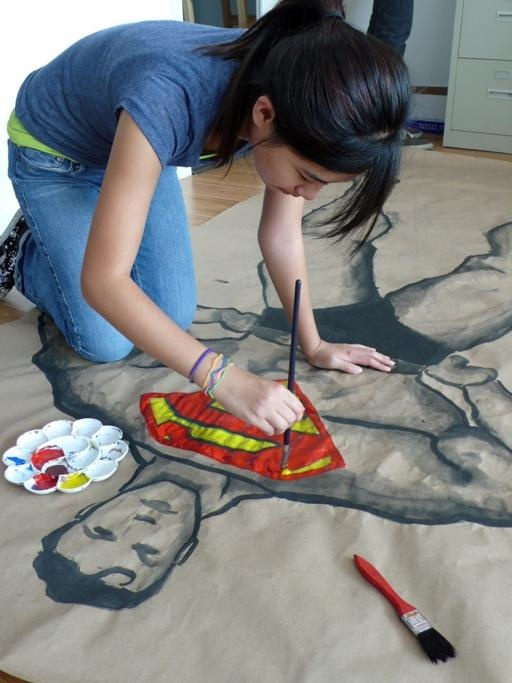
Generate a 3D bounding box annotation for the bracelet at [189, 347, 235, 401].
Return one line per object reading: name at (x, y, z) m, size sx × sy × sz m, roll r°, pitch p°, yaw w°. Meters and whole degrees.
bracelet at (-0.071, 0.052, 0.980) m, size 0.062 × 0.073 × 0.037 m, roll 39°, pitch 2°, yaw 18°

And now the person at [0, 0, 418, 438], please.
person at (-0.193, -0.232, 1.230) m, size 0.510 × 0.832 × 0.930 m, roll -18°, pitch 32°, yaw -29°

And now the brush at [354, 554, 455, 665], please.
brush at (0.223, 0.397, 0.866) m, size 0.046 × 0.010 × 0.183 m, roll -2°, pitch 16°, yaw -17°
